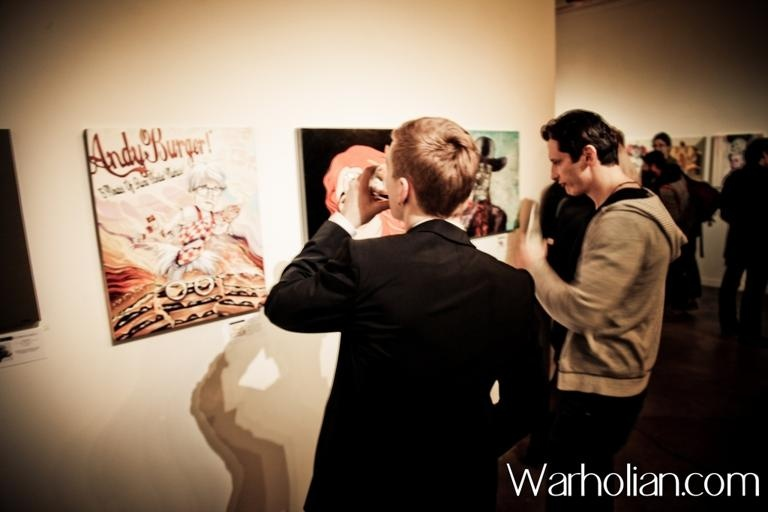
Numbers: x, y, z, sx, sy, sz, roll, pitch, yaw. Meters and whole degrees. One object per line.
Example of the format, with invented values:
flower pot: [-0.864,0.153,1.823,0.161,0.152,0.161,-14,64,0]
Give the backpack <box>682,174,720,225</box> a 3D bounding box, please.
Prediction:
backpack: [1.950,-0.346,3.226,0.225,0.381,0.089,-40,29,-13]
